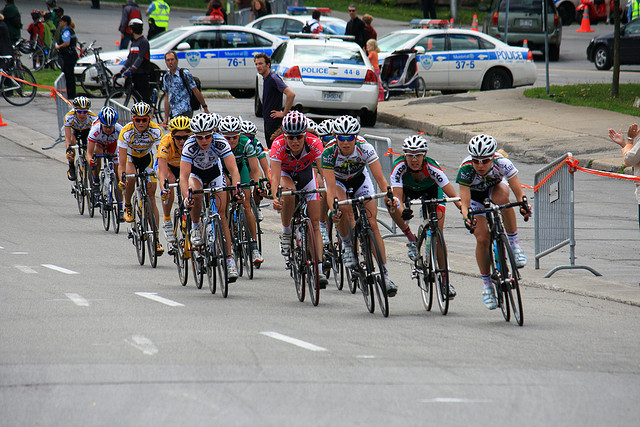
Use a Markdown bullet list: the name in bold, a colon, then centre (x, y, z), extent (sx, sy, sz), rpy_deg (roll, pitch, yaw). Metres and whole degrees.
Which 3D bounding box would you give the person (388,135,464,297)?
- **person**: centre (1.448, -0.065, 13.738), extent (0.708, 2.014, 1.313), rpy_deg (-1, 5, -11)

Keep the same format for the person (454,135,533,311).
- **person**: centre (2.332, 0.050, 13.275), extent (0.744, 2.158, 1.380), rpy_deg (-1, 5, -9)

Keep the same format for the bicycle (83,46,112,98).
- **bicycle**: centre (-5.982, -4.015, 27.203), extent (0.881, 1.155, 1.843), rpy_deg (-10, 21, -15)

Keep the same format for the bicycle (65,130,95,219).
- **bicycle**: centre (-4.929, -0.819, 20.106), extent (0.695, 1.331, 2.193), rpy_deg (0, 7, -18)

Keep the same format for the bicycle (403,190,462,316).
- **bicycle**: centre (1.495, 0.483, 13.771), extent (0.911, 1.569, 2.510), rpy_deg (4, 3, 0)

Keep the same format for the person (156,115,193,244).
- **person**: centre (-2.313, -0.548, 15.324), extent (0.653, 1.828, 0.925), rpy_deg (4, 6, 28)

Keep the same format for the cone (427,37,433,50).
- **cone**: centre (3.080, -4.802, 27.500), extent (0.100, 0.320, 0.221), rpy_deg (10, 17, 39)

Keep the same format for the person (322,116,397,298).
- **person**: centre (0.674, -0.119, 13.842), extent (0.870, 2.405, 1.256), rpy_deg (-1, 6, -14)

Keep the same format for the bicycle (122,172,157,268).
- **bicycle**: centre (-2.878, 0.129, 16.137), extent (0.250, 1.499, 0.865), rpy_deg (-6, 14, -23)

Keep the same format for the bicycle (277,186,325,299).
- **bicycle**: centre (-0.189, 0.488, 14.389), extent (0.507, 1.053, 1.684), rpy_deg (-1, 3, -8)

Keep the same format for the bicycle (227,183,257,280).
- **bicycle**: centre (-1.215, 0.271, 15.187), extent (0.399, 1.533, 1.154), rpy_deg (0, 0, -17)

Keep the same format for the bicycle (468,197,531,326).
- **bicycle**: centre (2.426, 0.586, 13.678), extent (0.656, 1.292, 1.983), rpy_deg (-11, 0, 1)
